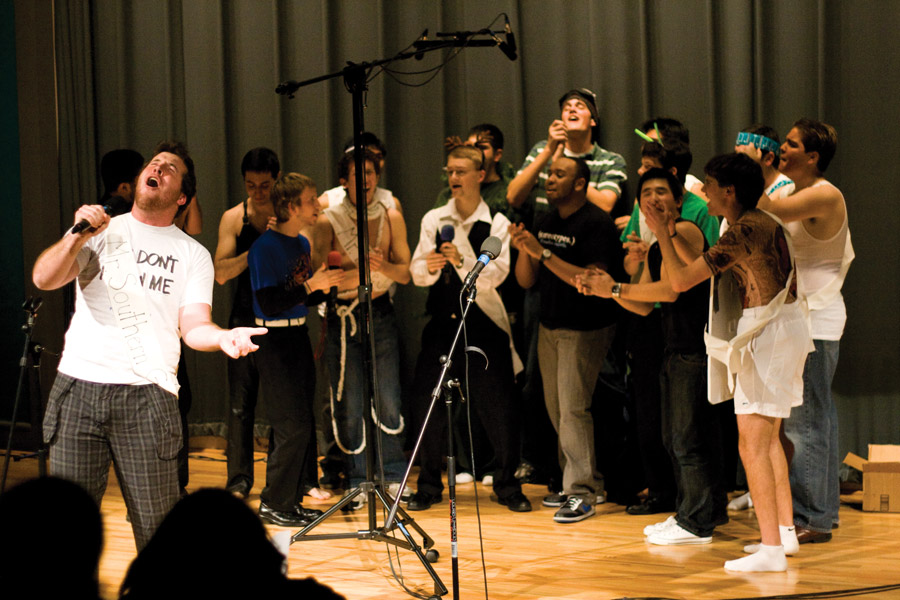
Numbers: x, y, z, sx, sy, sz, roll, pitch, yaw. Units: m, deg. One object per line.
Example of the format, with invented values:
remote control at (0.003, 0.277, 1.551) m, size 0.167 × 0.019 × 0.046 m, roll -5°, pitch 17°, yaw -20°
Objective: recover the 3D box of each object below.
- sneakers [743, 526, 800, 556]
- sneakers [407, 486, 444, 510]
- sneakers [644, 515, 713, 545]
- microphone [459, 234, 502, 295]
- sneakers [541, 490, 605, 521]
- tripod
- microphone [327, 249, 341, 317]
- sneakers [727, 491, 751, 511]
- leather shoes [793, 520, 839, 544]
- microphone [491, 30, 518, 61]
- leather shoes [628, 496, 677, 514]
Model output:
sneakers at (1.918, 1.384, 5.855) m, size 0.402 × 0.196 × 0.138 m, roll -6°, pitch -6°, yaw 36°
sneakers at (-0.154, 1.312, 6.699) m, size 0.098 × 0.122 × 0.275 m, roll -6°, pitch -10°, yaw 32°
sneakers at (1.376, 1.372, 6.100) m, size 0.293 × 0.125 × 0.179 m, roll 4°, pitch -7°, yaw 1°
microphone at (0.195, -0.235, 6.127) m, size 0.120 × 0.410 × 0.107 m, roll 35°, pitch -36°, yaw -11°
sneakers at (0.801, 1.332, 6.492) m, size 0.423 × 0.175 × 0.142 m, roll 9°, pitch -15°, yaw -43°
tripod at (-0.511, 0.188, 5.784) m, size 0.774 × 2.715 × 1.962 m, roll -3°, pitch 13°, yaw -7°
microphone at (-0.753, -0.117, 6.529) m, size 0.119 × 0.504 × 0.118 m, roll -1°, pitch 5°, yaw -13°
sneakers at (1.974, 1.333, 6.639) m, size 0.235 × 0.101 × 0.081 m, roll 1°, pitch -5°, yaw -7°
leather shoes at (2.239, 1.419, 6.106) m, size 0.248 × 0.121 × 0.089 m, roll 4°, pitch -6°, yaw -12°
microphone at (0.331, -1.463, 5.712) m, size 0.101 × 0.150 × 0.429 m, roll 0°, pitch 14°, yaw 7°
leather shoes at (1.320, 1.323, 6.559) m, size 0.323 × 0.138 × 0.123 m, roll 2°, pitch -8°, yaw -3°
